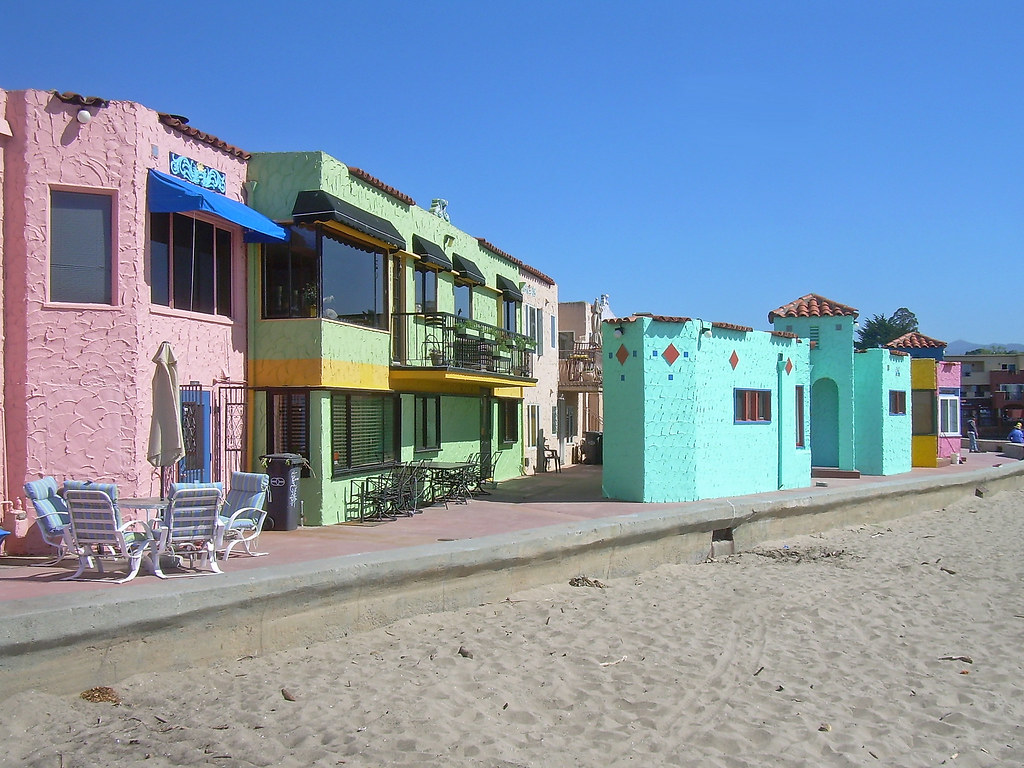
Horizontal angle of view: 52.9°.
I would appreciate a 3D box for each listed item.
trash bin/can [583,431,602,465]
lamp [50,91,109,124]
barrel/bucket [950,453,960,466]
[{"bbox_3d":[2.946,2.354,36.863,0.787,1.129,1.062,2,-10,-7],"label":"trash bin/can"},{"bbox_3d":[-6.834,-4.315,16.315,0.844,0.425,0.168,-1,10,-23],"label":"lamp"},{"bbox_3d":[14.929,2.595,34.639,0.358,0.344,0.349,-1,-9,0],"label":"barrel/bucket"}]
